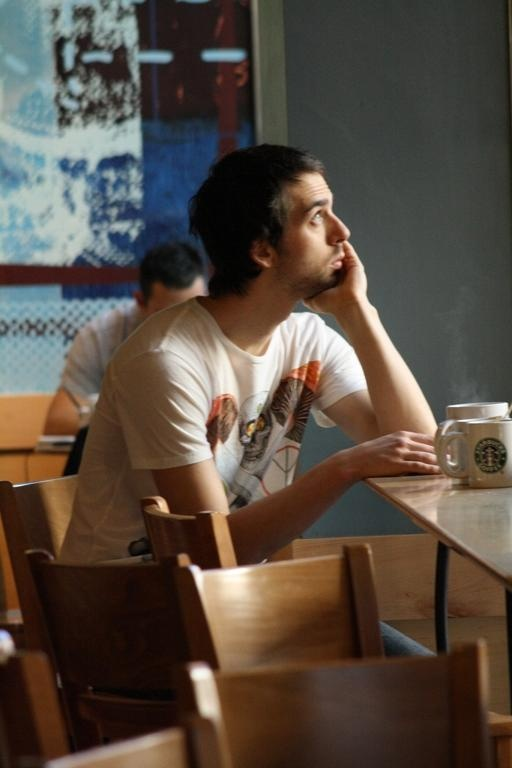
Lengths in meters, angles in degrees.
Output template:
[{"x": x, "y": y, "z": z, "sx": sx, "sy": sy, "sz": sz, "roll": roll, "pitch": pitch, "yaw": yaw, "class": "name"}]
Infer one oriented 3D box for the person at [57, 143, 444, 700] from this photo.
[{"x": 0.018, "y": 0.086, "z": 1.367, "sx": 0.786, "sy": 0.963, "sz": 0.550, "roll": 4, "pitch": 10, "yaw": 13, "class": "person"}]
